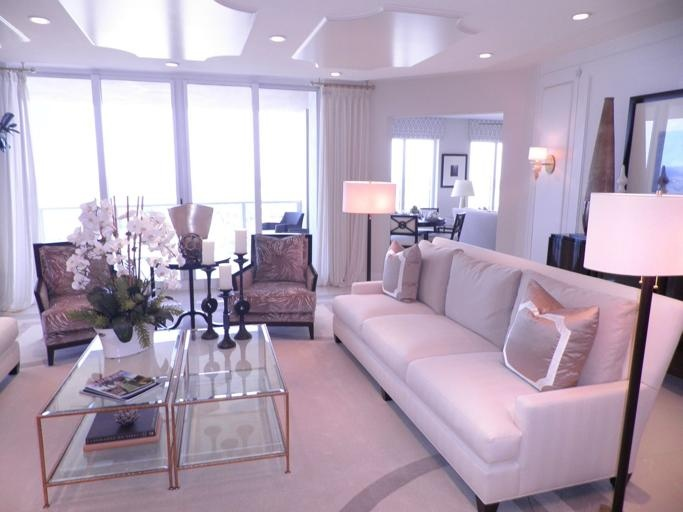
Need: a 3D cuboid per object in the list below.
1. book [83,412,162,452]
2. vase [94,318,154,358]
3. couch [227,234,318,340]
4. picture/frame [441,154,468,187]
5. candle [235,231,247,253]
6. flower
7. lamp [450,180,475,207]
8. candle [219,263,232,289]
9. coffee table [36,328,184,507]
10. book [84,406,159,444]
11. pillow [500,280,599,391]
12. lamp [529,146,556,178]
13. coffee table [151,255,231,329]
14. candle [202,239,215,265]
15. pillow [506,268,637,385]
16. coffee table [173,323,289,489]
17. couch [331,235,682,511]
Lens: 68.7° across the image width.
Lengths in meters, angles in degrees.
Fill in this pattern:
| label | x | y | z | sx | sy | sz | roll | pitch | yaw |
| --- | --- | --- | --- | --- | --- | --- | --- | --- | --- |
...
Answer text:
| label | x | y | z | sx | sy | sz | roll | pitch | yaw |
| --- | --- | --- | --- | --- | --- | --- | --- | --- | --- |
| book | -1.431 | 1.154 | 3.275 | 0.270 | 0.067 | 0.285 | -1 | 7 | -17 |
| vase | -1.546 | 0.588 | 3.531 | 0.300 | 0.152 | 0.262 | -3 | 2 | 8 |
| couch | -0.661 | 0.256 | 5.305 | 0.804 | 1.055 | 1.081 | 0 | 4 | -1 |
| picture/frame | 2.395 | -1.851 | 10.742 | 0.801 | 0.998 | 0.064 | -3 | 8 | -21 |
| candle | -0.881 | -0.125 | 4.328 | 0.094 | 0.209 | 0.071 | -3 | 11 | -12 |
| flower | -1.533 | 0.128 | 3.530 | 0.716 | 1.048 | 0.403 | -5 | 12 | -25 |
| lamp | 2.517 | -1.290 | 10.414 | 0.402 | 0.600 | 1.122 | 2 | 10 | 12 |
| candle | -0.978 | 0.181 | 4.177 | 0.091 | 0.230 | 0.075 | -3 | 11 | -14 |
| coffee table | -1.511 | 1.066 | 3.405 | 0.796 | 0.739 | 0.941 | -2 | 10 | -12 |
| book | -1.442 | 1.136 | 3.278 | 0.255 | 0.062 | 0.263 | 0 | 5 | -16 |
| pillow | 1.322 | 0.514 | 3.118 | 0.269 | 0.487 | 0.494 | 36 | -4 | -27 |
| lamp | 2.364 | -1.113 | 5.994 | 0.327 | 0.373 | 0.346 | -1 | 10 | -3 |
| coffee table | -1.355 | 0.418 | 4.649 | 0.775 | 0.849 | 0.851 | -1 | 5 | -23 |
| candle | -1.162 | -0.025 | 4.336 | 0.082 | 0.220 | 0.120 | -6 | 12 | -27 |
| pillow | 1.430 | 0.464 | 3.098 | 0.233 | 0.523 | 0.617 | -7 | 12 | -25 |
| coffee table | -0.758 | 1.060 | 3.401 | 0.668 | 0.516 | 1.183 | -2 | 17 | -11 |
| couch | 1.109 | 0.835 | 3.324 | 0.736 | 0.726 | 1.559 | -3 | 11 | -18 |
